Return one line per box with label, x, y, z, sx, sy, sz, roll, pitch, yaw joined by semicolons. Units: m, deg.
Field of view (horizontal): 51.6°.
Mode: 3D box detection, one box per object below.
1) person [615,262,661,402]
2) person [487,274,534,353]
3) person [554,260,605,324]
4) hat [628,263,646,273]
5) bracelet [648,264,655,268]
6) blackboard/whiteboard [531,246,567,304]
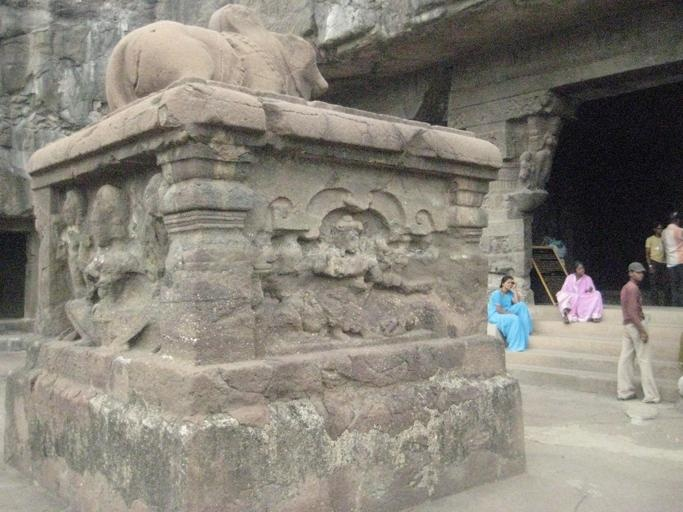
person;3.048;0.781;7.324;0.411;1.417;0.704;-3;-5;23
person;2.156;0.729;9.063;0.512;0.960;0.510;-3;-5;15
person;3.116;0.505;9.280;0.631;1.003;0.704;0;-10;8
hat;3.317;0.133;7.960;0.216;0.134;0.175;-4;3;16
bracelet;4.816;0.153;10.980;0.065;0.082;0.069;2;-11;-7
blackboard/whiteboard;3.280;0.210;11.196;0.216;1.161;0.552;-7;-6;-38
